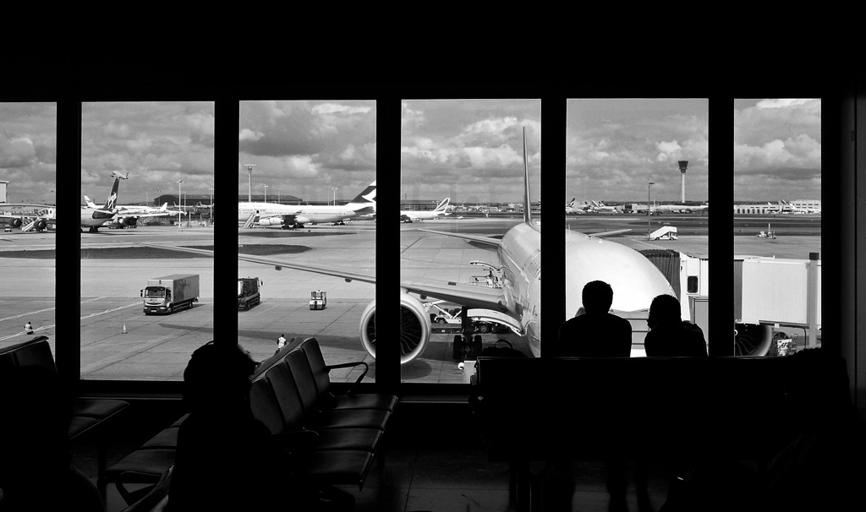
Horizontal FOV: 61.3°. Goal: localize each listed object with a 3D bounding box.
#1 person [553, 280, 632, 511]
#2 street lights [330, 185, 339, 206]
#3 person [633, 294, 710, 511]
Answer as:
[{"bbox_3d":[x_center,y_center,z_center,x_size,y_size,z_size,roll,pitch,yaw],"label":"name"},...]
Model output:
[{"bbox_3d":[1.661,1.489,7.405,0.787,2.398,0.799,3,5,1],"label":"person"},{"bbox_3d":[-1.215,-0.759,9.163,0.070,0.234,0.178,2,5,-11],"label":"street lights"},{"bbox_3d":[2.427,1.528,7.459,0.606,2.165,0.817,4,5,16],"label":"person"}]
